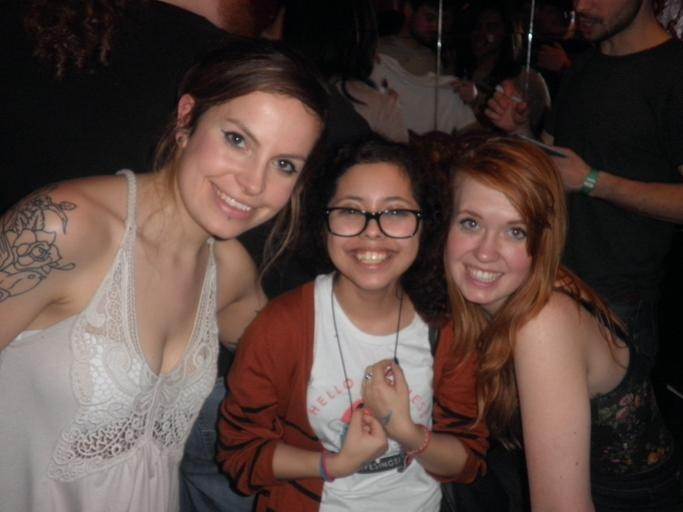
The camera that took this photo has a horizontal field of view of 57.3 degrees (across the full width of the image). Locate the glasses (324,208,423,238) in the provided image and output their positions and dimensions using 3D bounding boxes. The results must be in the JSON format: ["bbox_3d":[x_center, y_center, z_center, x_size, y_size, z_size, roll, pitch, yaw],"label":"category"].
[{"bbox_3d":[0.142,-0.142,2.718,0.416,0.150,0.072,-1,-10,-2],"label":"glasses"}]
